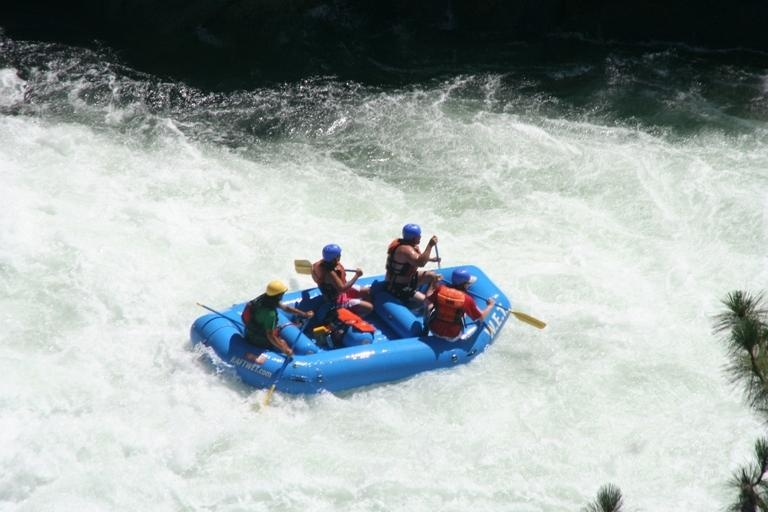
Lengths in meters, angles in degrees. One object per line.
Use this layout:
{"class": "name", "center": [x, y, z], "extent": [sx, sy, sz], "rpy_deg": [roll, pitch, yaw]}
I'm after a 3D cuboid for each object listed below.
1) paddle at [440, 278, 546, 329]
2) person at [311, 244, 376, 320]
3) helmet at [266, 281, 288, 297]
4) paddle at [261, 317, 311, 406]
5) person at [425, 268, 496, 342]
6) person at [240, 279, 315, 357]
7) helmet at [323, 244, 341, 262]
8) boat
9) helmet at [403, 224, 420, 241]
{"class": "paddle", "center": [2.351, 1.008, 20.432], "extent": [1.778, 0.236, 0.141], "rpy_deg": [30, 19, 35]}
{"class": "person", "center": [-0.741, 0.697, 20.247], "extent": [1.307, 1.805, 0.875], "rpy_deg": [-3, 27, -8]}
{"class": "helmet", "center": [-1.912, 0.575, 19.190], "extent": [0.367, 0.158, 0.266], "rpy_deg": [-23, 34, -36]}
{"class": "paddle", "center": [-1.817, 1.838, 19.492], "extent": [0.343, 0.169, 2.177], "rpy_deg": [24, 49, 0]}
{"class": "person", "center": [1.434, 0.999, 19.897], "extent": [0.917, 1.142, 0.794], "rpy_deg": [25, 41, 6]}
{"class": "person", "center": [-1.967, 1.375, 19.586], "extent": [1.389, 1.714, 0.859], "rpy_deg": [4, 28, -17]}
{"class": "helmet", "center": [-0.979, -0.060, 19.821], "extent": [0.369, 0.252, 0.247], "rpy_deg": [-27, 55, -3]}
{"class": "boat", "center": [-0.329, 1.722, 19.678], "extent": [5.414, 0.973, 2.474], "rpy_deg": [-9, 45, -9]}
{"class": "helmet", "center": [0.546, -0.475, 20.238], "extent": [0.340, 0.271, 0.361], "rpy_deg": [5, 42, -4]}
